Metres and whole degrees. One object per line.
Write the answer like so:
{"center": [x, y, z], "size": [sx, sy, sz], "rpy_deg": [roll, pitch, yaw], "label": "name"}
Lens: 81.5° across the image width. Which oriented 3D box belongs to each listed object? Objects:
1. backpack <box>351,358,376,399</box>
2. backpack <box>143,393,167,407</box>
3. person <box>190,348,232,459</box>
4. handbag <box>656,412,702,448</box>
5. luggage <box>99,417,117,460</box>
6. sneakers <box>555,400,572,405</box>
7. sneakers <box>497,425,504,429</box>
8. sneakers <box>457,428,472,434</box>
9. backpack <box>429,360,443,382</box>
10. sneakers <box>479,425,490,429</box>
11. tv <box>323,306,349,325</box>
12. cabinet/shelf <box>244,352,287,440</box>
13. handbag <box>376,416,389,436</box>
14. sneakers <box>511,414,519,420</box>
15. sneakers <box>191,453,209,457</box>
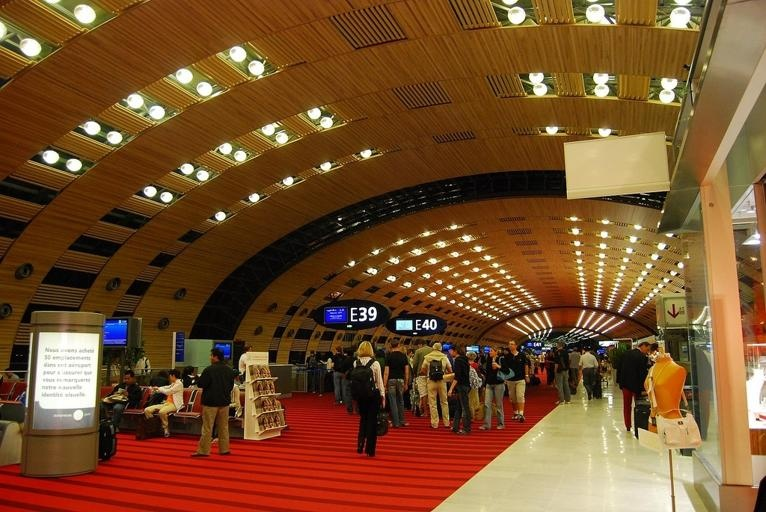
{"center": [-0.411, 2.522, 9.389], "size": [0.510, 0.604, 0.435], "rpy_deg": [-5, -2, 36], "label": "backpack"}
{"center": [-6.857, 4.230, 13.112], "size": [0.564, 0.429, 0.441], "rpy_deg": [-18, -21, 41], "label": "backpack"}
{"center": [-3.960, 3.373, 10.328], "size": [0.781, 2.351, 1.173], "rpy_deg": [3, -17, -17], "label": "person"}
{"center": [3.745, 2.177, 5.609], "size": [0.574, 0.417, 0.224], "rpy_deg": [3, -19, -11], "label": "handbag"}
{"center": [-6.132, 4.033, 9.738], "size": [0.352, 0.801, 0.369], "rpy_deg": [6, -19, -27], "label": "luggage"}
{"center": [7.598, 6.143, 18.605], "size": [0.580, 0.198, 0.216], "rpy_deg": [6, -12, -33], "label": "sneakers"}
{"center": [3.438, 4.953, 12.956], "size": [0.176, 0.131, 0.230], "rpy_deg": [-5, -15, 12], "label": "sneakers"}
{"center": [2.243, 4.826, 12.212], "size": [0.375, 0.125, 0.138], "rpy_deg": [-2, -11, 22], "label": "sneakers"}
{"center": [1.481, 3.210, 12.526], "size": [0.377, 0.605, 0.430], "rpy_deg": [9, -19, -34], "label": "backpack"}
{"center": [2.960, 4.951, 12.880], "size": [0.395, 0.131, 0.141], "rpy_deg": [0, -17, 13], "label": "sneakers"}
{"center": [-1.910, 2.401, 17.865], "size": [0.973, 0.550, 0.120], "rpy_deg": [-2, -22, 13], "label": "tv"}
{"center": [-3.510, 3.862, 12.372], "size": [0.784, 2.317, 1.552], "rpy_deg": [-7, -16, 13], "label": "cabinet/shelf"}
{"center": [-0.030, 3.645, 9.601], "size": [0.246, 0.429, 0.277], "rpy_deg": [-2, -16, -2], "label": "handbag"}
{"center": [4.329, 5.233, 14.472], "size": [0.232, 0.203, 0.563], "rpy_deg": [1, -7, 16], "label": "sneakers"}
{"center": [-4.191, 4.457, 10.000], "size": [0.437, 0.088, 0.171], "rpy_deg": [-7, -15, 19], "label": "sneakers"}
